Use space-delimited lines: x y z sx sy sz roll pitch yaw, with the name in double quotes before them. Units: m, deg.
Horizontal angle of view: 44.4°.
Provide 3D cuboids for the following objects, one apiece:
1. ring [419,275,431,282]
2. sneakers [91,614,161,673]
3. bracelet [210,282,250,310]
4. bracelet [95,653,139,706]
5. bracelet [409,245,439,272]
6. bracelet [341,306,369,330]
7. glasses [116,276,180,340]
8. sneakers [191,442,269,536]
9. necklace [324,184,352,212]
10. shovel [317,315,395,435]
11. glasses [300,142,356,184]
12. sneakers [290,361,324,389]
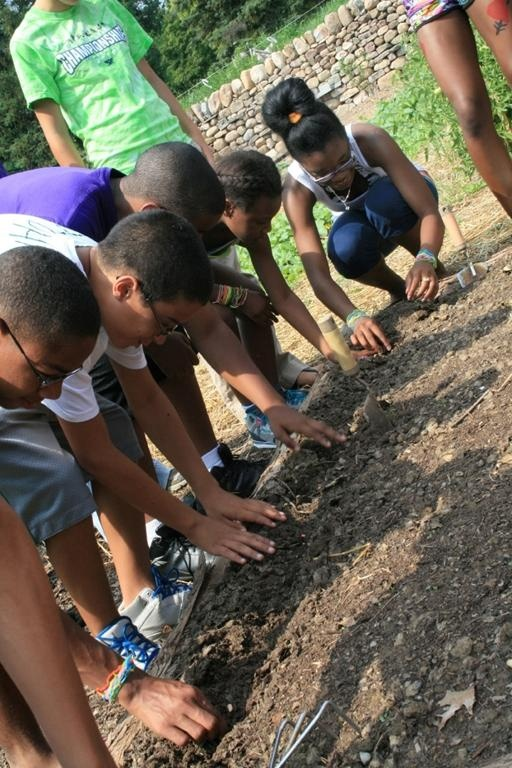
"ring" 0.695 -0.434 2.586 0.031 0.013 0.029 1 23 0
"sneakers" -0.389 0.761 1.844 0.099 0.247 0.082 -53 1 42
"bracelet" -0.128 -0.400 2.932 0.127 0.051 0.121 2 -8 -34
"bracelet" -0.337 0.747 1.566 0.135 0.042 0.089 -51 34 -5
"bracelet" 0.752 -0.544 2.759 0.105 0.121 0.058 16 95 56
"bracelet" 0.435 -0.279 2.800 0.057 0.091 0.107 39 114 42
"glasses" -0.309 -0.206 1.722 0.186 0.166 0.139 -8 8 15
"sneakers" -0.094 0.381 2.624 0.151 0.211 0.483 -61 17 -19
"necklace" 0.409 -0.923 3.133 0.060 0.093 0.099 -37 -19 6
"shovel" 0.363 -0.053 2.403 0.161 0.523 0.062 -29 -3 29
"glasses" 0.331 -0.974 2.796 0.153 0.109 0.193 -31 27 5
"sneakers" 0.270 -0.039 3.332 0.128 0.055 0.102 -43 40 5
